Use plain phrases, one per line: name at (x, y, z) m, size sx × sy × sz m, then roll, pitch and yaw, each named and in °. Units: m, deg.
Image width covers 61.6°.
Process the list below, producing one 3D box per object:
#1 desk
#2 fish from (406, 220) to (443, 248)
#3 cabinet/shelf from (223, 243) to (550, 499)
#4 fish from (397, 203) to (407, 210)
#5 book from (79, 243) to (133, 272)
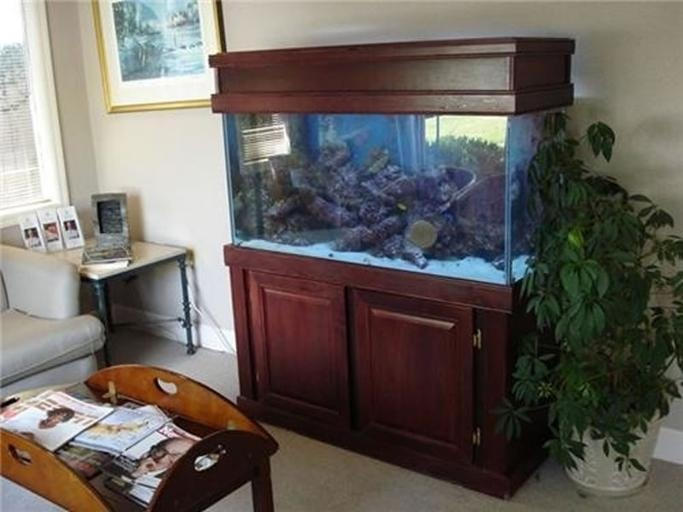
desk at (-1.311, 0.303, 3.657) m, size 0.827 × 0.769 × 0.736 m, roll 14°, pitch 22°, yaw 39°
fish at (0.316, -0.083, 2.221) m, size 0.134 × 0.119 × 0.014 m, roll 6°, pitch 19°, yaw 30°
cabinet/shelf at (0.235, 0.482, 2.364) m, size 0.975 × 0.590 × 0.343 m, roll 7°, pitch 14°, yaw 28°
fish at (0.238, -0.190, 2.233) m, size 0.041 × 0.029 × 0.004 m, roll 9°, pitch 20°, yaw 35°
book at (-1.367, 0.007, 3.305) m, size 0.199 × 0.046 × 0.199 m, roll -7°, pitch 27°, yaw -12°
